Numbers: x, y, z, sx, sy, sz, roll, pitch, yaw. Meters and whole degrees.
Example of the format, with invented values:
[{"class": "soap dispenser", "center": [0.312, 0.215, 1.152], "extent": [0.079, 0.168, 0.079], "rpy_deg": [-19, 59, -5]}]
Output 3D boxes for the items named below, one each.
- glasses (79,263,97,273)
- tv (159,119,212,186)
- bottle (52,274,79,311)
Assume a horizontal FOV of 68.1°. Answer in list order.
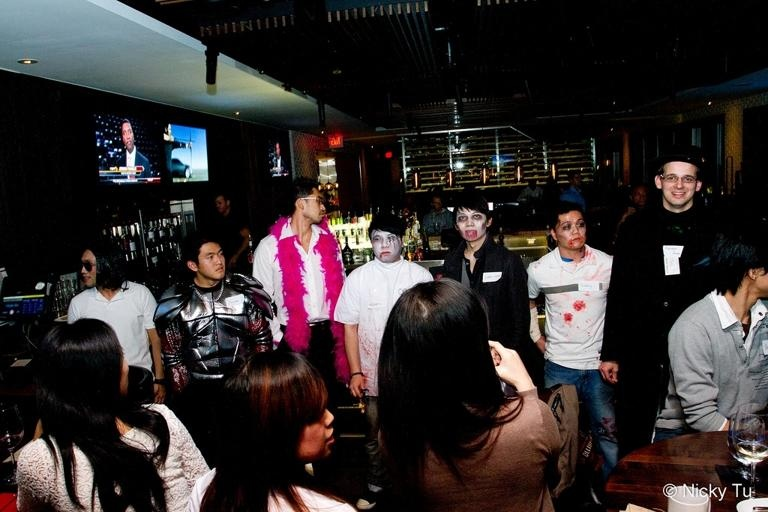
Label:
[{"class": "glasses", "center": [-2.239, 0.093, 4.311], "extent": [0.076, 0.032, 0.077], "rpy_deg": [10, -9, 4]}, {"class": "tv", "center": [-2.687, -1.369, 7.608], "extent": [1.297, 0.765, 0.040], "rpy_deg": [17, 16, 42]}, {"class": "bottle", "center": [-2.952, 0.354, 5.275], "extent": [0.189, 0.323, 0.341], "rpy_deg": [1, 6, 10]}]
